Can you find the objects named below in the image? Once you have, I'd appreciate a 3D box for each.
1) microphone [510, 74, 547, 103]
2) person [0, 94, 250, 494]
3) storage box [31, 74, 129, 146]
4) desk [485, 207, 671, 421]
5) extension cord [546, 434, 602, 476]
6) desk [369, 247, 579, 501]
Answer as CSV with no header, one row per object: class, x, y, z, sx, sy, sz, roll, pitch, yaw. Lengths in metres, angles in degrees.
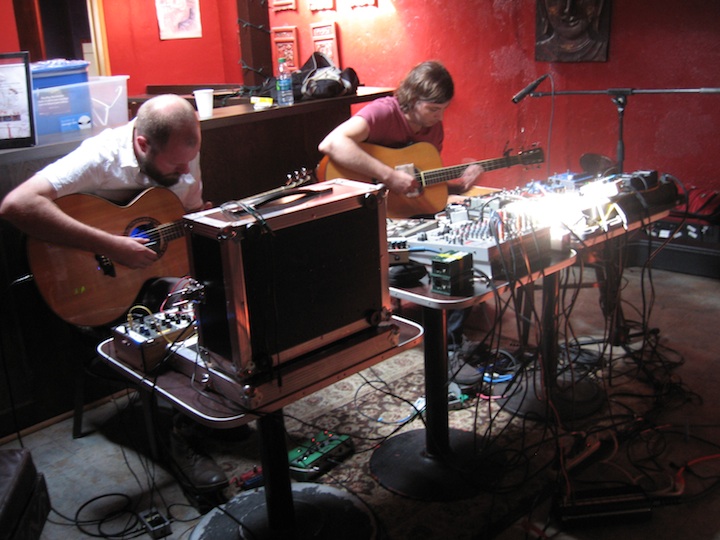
microphone,1.076,-1.157,3.838,0.138,0.160,1.306,1,16,16
person,-1.080,0.147,2.935,0.912,1.833,0.265,-20,9,-30
storage box,-1.334,-0.796,2.953,0.283,0.209,0.442,16,27,41
desk,1.070,0.258,2.975,0.878,0.581,0.443,-27,27,-33
extension cord,0.947,0.794,2.572,0.152,0.044,0.153,-7,49,25
desk,0.353,0.309,2.786,0.971,0.920,0.979,11,20,35
